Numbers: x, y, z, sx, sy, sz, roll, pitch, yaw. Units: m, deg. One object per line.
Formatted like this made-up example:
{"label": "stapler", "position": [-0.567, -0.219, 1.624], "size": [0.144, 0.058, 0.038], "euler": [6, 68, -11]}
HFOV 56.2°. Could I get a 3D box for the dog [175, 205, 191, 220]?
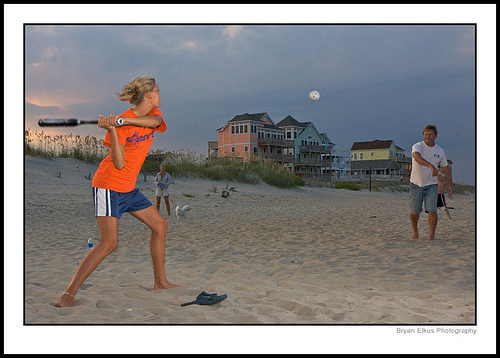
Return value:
{"label": "dog", "position": [-2.207, 1.050, 15.093], "size": [0.368, 0.395, 0.920], "euler": [1, 2, -9]}
